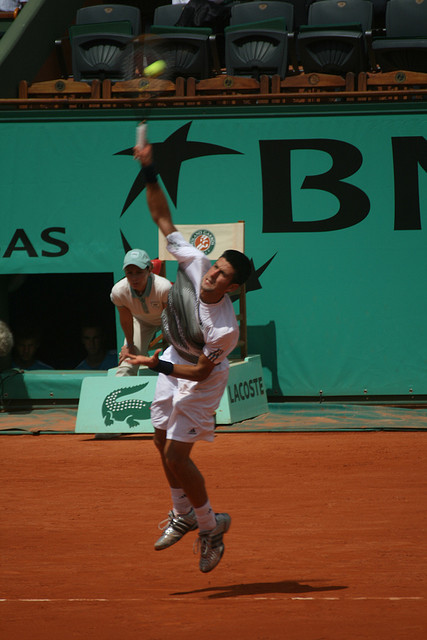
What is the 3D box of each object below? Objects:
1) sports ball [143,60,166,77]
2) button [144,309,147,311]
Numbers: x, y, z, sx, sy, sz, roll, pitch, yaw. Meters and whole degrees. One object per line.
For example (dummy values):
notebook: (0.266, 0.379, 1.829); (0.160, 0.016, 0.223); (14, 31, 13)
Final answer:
sports ball: (-0.309, -1.334, 3.385); (0.116, 0.087, 0.111); (-1, 2, 0)
button: (-0.657, -0.101, 6.139); (0.026, 0.019, 0.005); (-1, 6, -7)
